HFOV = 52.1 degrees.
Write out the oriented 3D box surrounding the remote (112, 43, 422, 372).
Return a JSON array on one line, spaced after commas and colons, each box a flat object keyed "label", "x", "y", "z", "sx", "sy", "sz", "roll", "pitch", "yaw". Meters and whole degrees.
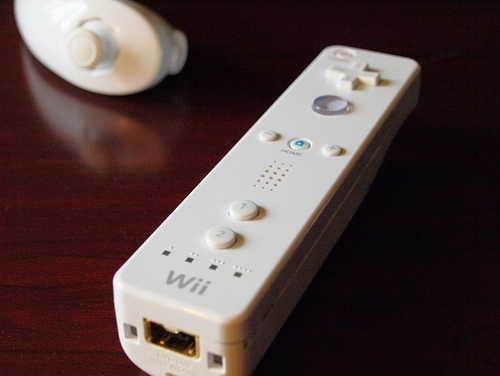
[{"label": "remote", "x": 0.039, "y": -0.019, "z": 0.384, "sx": 0.099, "sy": 0.076, "sz": 0.353, "roll": 18, "pitch": 53, "yaw": 20}]
